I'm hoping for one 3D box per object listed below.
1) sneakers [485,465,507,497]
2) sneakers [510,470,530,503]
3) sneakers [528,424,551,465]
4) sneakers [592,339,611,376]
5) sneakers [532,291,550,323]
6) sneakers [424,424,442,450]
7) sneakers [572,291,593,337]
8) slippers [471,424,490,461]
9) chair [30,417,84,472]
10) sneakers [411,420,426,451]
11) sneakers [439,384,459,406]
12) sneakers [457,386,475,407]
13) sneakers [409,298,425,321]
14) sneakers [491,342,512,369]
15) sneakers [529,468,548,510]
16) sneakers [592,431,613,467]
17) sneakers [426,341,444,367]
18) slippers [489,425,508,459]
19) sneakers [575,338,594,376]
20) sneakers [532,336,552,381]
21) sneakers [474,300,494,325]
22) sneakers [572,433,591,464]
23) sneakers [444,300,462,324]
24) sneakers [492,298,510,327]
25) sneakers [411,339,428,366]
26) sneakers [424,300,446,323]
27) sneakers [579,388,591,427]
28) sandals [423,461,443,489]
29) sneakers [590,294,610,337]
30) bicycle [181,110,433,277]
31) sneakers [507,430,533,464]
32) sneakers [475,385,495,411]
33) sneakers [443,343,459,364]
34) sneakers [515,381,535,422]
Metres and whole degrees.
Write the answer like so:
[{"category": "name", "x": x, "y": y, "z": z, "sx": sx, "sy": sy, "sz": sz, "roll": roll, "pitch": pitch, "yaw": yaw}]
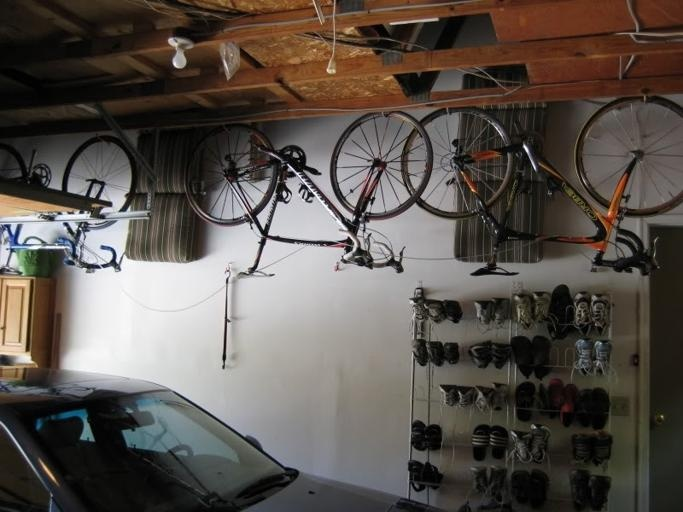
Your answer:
[{"category": "sneakers", "x": 1.263, "y": 1.854, "z": 5.539, "sx": 0.155, "sy": 0.244, "sz": 0.250, "roll": 9, "pitch": 1, "yaw": 11}, {"category": "sneakers", "x": 1.472, "y": 1.894, "z": 5.510, "sx": 0.150, "sy": 0.256, "sz": 0.088, "roll": 0, "pitch": 2, "yaw": 10}, {"category": "sneakers", "x": 1.635, "y": 1.532, "z": 5.539, "sx": 0.160, "sy": 0.359, "sz": 0.154, "roll": 3, "pitch": 14, "yaw": 12}, {"category": "sneakers", "x": 2.161, "y": 0.835, "z": 5.553, "sx": 0.136, "sy": 0.300, "sz": 0.196, "roll": 2, "pitch": 1, "yaw": 22}, {"category": "sneakers", "x": 1.703, "y": 0.419, "z": 5.686, "sx": 0.132, "sy": 0.253, "sz": 0.216, "roll": 2, "pitch": 1, "yaw": 25}, {"category": "sneakers", "x": 0.780, "y": 1.538, "z": 5.682, "sx": 0.148, "sy": 0.174, "sz": 0.194, "roll": 0, "pitch": -13, "yaw": 6}, {"category": "sneakers", "x": 1.997, "y": 0.474, "z": 5.546, "sx": 0.135, "sy": 0.353, "sz": 0.144, "roll": -1, "pitch": 7, "yaw": 25}, {"category": "slippers", "x": 1.185, "y": 1.581, "z": 5.667, "sx": 0.148, "sy": 0.299, "sz": 0.120, "roll": 1, "pitch": 1, "yaw": 12}, {"category": "chair", "x": -1.693, "y": 1.114, "z": 4.028, "sx": 0.308, "sy": 0.238, "sz": 0.230, "roll": 7, "pitch": 4, "yaw": 44}, {"category": "sneakers", "x": 0.702, "y": 1.547, "z": 5.780, "sx": 0.155, "sy": 0.216, "sz": 0.223, "roll": 0, "pitch": 1, "yaw": 8}, {"category": "sneakers", "x": 0.922, "y": 1.183, "z": 5.699, "sx": 0.115, "sy": 0.180, "sz": 0.185, "roll": 0, "pitch": -2, "yaw": 0}, {"category": "sneakers", "x": 1.061, "y": 1.184, "z": 5.670, "sx": 0.142, "sy": 0.157, "sz": 0.161, "roll": 1, "pitch": -16, "yaw": 4}, {"category": "sneakers", "x": 0.666, "y": 0.460, "z": 5.921, "sx": 0.081, "sy": 0.231, "sz": 0.101, "roll": -8, "pitch": -2, "yaw": 8}, {"category": "sneakers", "x": 1.339, "y": 0.829, "z": 5.644, "sx": 0.170, "sy": 0.203, "sz": 0.215, "roll": -2, "pitch": -14, "yaw": 15}, {"category": "sneakers", "x": 1.624, "y": 1.916, "z": 5.517, "sx": 0.163, "sy": 0.307, "sz": 0.110, "roll": 6, "pitch": 8, "yaw": 19}, {"category": "sneakers", "x": 2.105, "y": 1.549, "z": 5.415, "sx": 0.121, "sy": 0.320, "sz": 0.141, "roll": 4, "pitch": 11, "yaw": 6}, {"category": "sneakers", "x": 0.811, "y": 0.831, "z": 5.761, "sx": 0.149, "sy": 0.190, "sz": 0.084, "roll": 4, "pitch": -9, "yaw": -11}, {"category": "slippers", "x": 1.330, "y": 1.547, "z": 5.651, "sx": 0.151, "sy": 0.272, "sz": 0.099, "roll": 9, "pitch": 10, "yaw": 23}, {"category": "sneakers", "x": 2.016, "y": 0.834, "z": 5.566, "sx": 0.151, "sy": 0.309, "sz": 0.160, "roll": 2, "pitch": 1, "yaw": 20}, {"category": "sneakers", "x": 1.677, "y": 0.860, "z": 5.606, "sx": 0.176, "sy": 0.346, "sz": 0.140, "roll": 0, "pitch": -11, "yaw": 19}, {"category": "sneakers", "x": 1.228, "y": 0.479, "z": 5.704, "sx": 0.188, "sy": 0.196, "sz": 0.196, "roll": -1, "pitch": -5, "yaw": 31}, {"category": "sneakers", "x": 1.974, "y": 1.584, "z": 5.505, "sx": 0.152, "sy": 0.252, "sz": 0.180, "roll": 2, "pitch": 1, "yaw": 20}, {"category": "sneakers", "x": 0.963, "y": 0.475, "z": 5.813, "sx": 0.147, "sy": 0.187, "sz": 0.083, "roll": -6, "pitch": 2, "yaw": 18}, {"category": "sneakers", "x": 1.363, "y": 0.476, "z": 5.698, "sx": 0.144, "sy": 0.202, "sz": 0.210, "roll": 5, "pitch": 5, "yaw": 13}, {"category": "sneakers", "x": 0.676, "y": 0.829, "z": 5.777, "sx": 0.084, "sy": 0.207, "sz": 0.154, "roll": -3, "pitch": -3, "yaw": 41}, {"category": "sneakers", "x": 0.808, "y": 0.479, "z": 5.834, "sx": 0.149, "sy": 0.194, "sz": 0.074, "roll": -7, "pitch": -5, "yaw": 35}, {"category": "sneakers", "x": 1.990, "y": 1.244, "z": 5.506, "sx": 0.106, "sy": 0.284, "sz": 0.120, "roll": 5, "pitch": 11, "yaw": 16}, {"category": "sandals", "x": 0.775, "y": 1.871, "z": 5.697, "sx": 0.091, "sy": 0.132, "sz": 0.235, "roll": -11, "pitch": 13, "yaw": 19}, {"category": "sneakers", "x": 2.139, "y": 0.477, "z": 5.556, "sx": 0.158, "sy": 0.355, "sz": 0.147, "roll": 1, "pitch": 7, "yaw": 20}, {"category": "bicycle", "x": -0.449, "y": -0.534, "z": 6.077, "sx": 2.409, "sy": 1.246, "sz": 0.899, "roll": 2, "pitch": 1, "yaw": 39}, {"category": "sneakers", "x": 1.499, "y": 1.570, "z": 5.567, "sx": 0.190, "sy": 0.281, "sz": 0.088, "roll": 0, "pitch": 4, "yaw": 28}, {"category": "sneakers", "x": 1.200, "y": 1.191, "z": 5.632, "sx": 0.185, "sy": 0.188, "sz": 0.173, "roll": 1, "pitch": -11, "yaw": 2}, {"category": "sneakers", "x": 0.948, "y": 0.835, "z": 5.755, "sx": 0.148, "sy": 0.165, "sz": 0.167, "roll": 3, "pitch": -13, "yaw": 2}, {"category": "sneakers", "x": 1.545, "y": 1.235, "z": 5.635, "sx": 0.164, "sy": 0.339, "sz": 0.146, "roll": 1, "pitch": 1, "yaw": 14}]
